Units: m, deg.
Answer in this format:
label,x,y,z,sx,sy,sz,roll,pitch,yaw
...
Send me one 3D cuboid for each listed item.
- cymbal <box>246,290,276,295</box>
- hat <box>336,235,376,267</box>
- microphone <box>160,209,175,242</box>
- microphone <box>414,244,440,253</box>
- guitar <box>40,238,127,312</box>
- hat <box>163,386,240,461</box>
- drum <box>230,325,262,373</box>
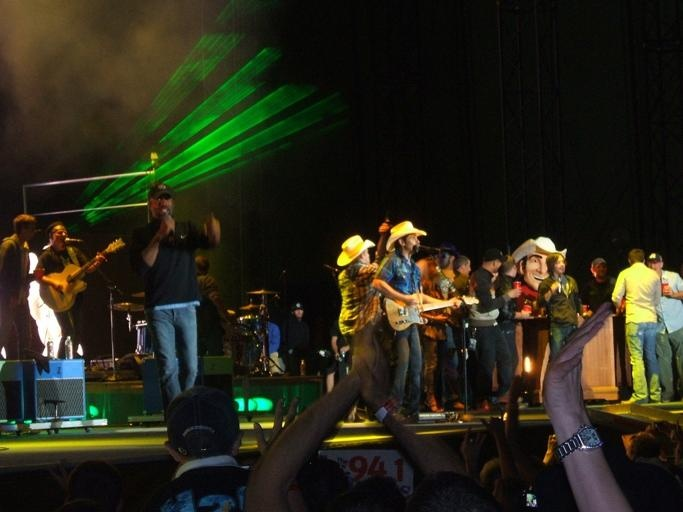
label,x,y,z,sx,sy,sz,roll,pitch,yaw
cymbal,-1.361,0.646,11.340,0.291,0.074,0.288,-2,4,-38
hat,0.175,-0.118,7.907,0.498,0.246,0.626,6,4,11
microphone,-1.562,-0.286,5.776,0.070,0.226,0.161,9,13,26
microphone,1.140,-0.098,8.863,0.189,0.177,0.883,12,4,16
guitar,-3.327,0.206,8.416,0.153,0.488,1.100,-19,20,47
hat,-0.811,0.880,3.669,0.335,0.275,0.470,-4,0,-9
drum,-1.580,1.543,10.359,0.321,0.578,0.352,1,5,0
